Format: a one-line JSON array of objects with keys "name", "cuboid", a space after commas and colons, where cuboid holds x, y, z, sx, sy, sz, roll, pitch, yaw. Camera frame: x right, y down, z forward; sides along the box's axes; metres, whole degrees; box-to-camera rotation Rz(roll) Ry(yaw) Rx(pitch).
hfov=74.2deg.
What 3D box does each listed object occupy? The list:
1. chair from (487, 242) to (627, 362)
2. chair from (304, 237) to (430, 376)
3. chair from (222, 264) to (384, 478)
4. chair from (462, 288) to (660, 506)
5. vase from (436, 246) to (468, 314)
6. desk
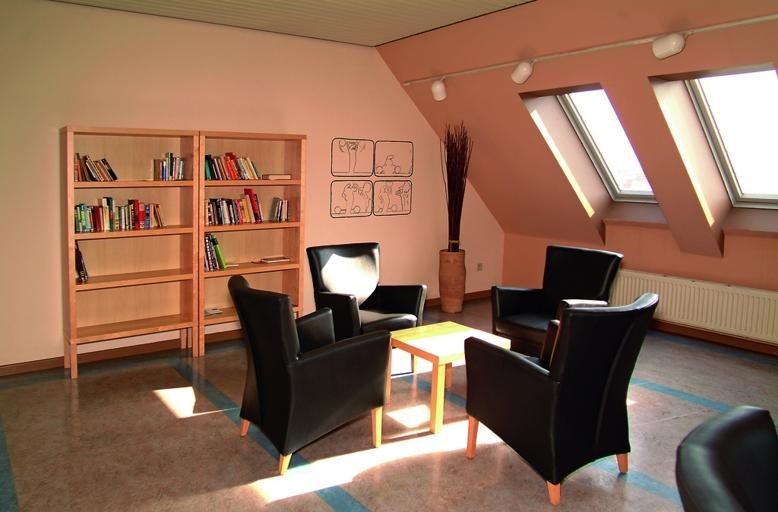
[{"name": "chair", "cuboid": [1.798, 0.478, 5.669, 1.254, 1.528, 1.191, -1, 6, -34]}, {"name": "chair", "cuboid": [-0.245, 0.548, 5.510, 1.113, 1.215, 1.108, 2, 6, 37]}, {"name": "chair", "cuboid": [-0.677, 0.894, 4.332, 1.195, 1.299, 0.950, -4, 9, -44]}, {"name": "chair", "cuboid": [1.322, 0.865, 4.314, 1.236, 1.654, 1.551, -5, 9, -33]}, {"name": "vase", "cuboid": [0.903, 0.362, 7.424, 0.404, 0.906, 0.250, -6, 5, 6]}, {"name": "desk", "cuboid": [0.440, 1.040, 4.910, 1.023, 0.734, 0.966, -7, 13, -38]}]
